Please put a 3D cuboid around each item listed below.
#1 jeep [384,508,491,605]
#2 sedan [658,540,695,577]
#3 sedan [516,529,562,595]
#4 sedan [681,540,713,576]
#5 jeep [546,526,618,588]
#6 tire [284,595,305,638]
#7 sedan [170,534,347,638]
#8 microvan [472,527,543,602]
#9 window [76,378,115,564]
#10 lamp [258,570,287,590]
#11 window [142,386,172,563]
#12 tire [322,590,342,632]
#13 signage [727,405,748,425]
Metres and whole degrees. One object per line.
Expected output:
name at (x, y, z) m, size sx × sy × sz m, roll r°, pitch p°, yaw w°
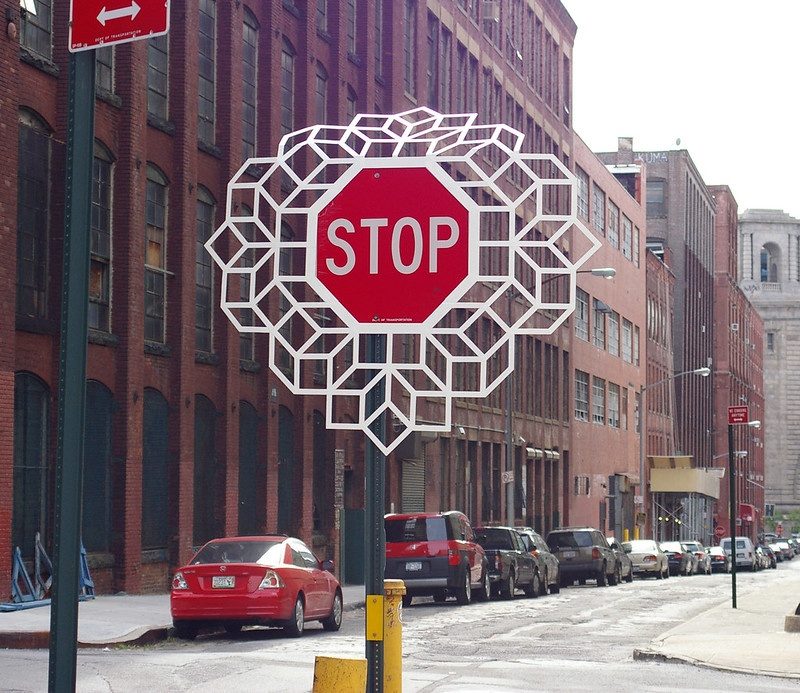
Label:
jeep at (0.910, 4.405, 36.958) m, size 1.243 × 1.485 × 2.892 m, roll -2°, pitch -6°, yaw 17°
sedan at (9.783, 7.349, 61.422) m, size 0.770 × 0.847 × 2.188 m, roll 0°, pitch -3°, yaw 13°
sedan at (3.392, 5.268, 43.079) m, size 0.769 × 0.981 × 1.899 m, roll -2°, pitch -6°, yaw 15°
sedan at (11.039, 7.783, 64.967) m, size 0.823 × 0.868 × 2.111 m, roll -1°, pitch -5°, yaw 14°
jeep at (5.097, 5.700, 48.294) m, size 1.045 × 1.231 × 2.379 m, roll -2°, pitch -3°, yaw 15°
tire at (-1.680, 4.211, 27.696) m, size 0.166 × 0.645 × 0.558 m, roll -9°, pitch 3°, yaw 23°
sedan at (-2.163, 3.761, 27.987) m, size 2.886 × 1.682 × 1.426 m, roll 9°, pitch -17°, yaw -36°
microvan at (2.747, 5.099, 42.858) m, size 1.252 × 1.627 × 3.337 m, roll 13°, pitch -8°, yaw 6°
window at (-5.693, 2.317, 33.361) m, size 0.376 × 3.114 × 1.123 m, roll -4°, pitch -12°, yaw 14°
lamp at (-2.033, 3.617, 27.316) m, size 0.357 × 0.406 × 0.220 m, roll 1°, pitch -4°, yaw 1°
window at (-4.913, 2.480, 35.287) m, size 0.352 × 3.092 × 1.347 m, roll -4°, pitch -12°, yaw 14°
tire at (-1.155, 4.394, 29.427) m, size 0.178 × 0.645 × 0.573 m, roll -4°, pitch -13°, yaw 13°
signage at (6.709, 1.410, 34.929) m, size 0.452 × 0.528 × 0.109 m, roll -5°, pitch 3°, yaw -35°
